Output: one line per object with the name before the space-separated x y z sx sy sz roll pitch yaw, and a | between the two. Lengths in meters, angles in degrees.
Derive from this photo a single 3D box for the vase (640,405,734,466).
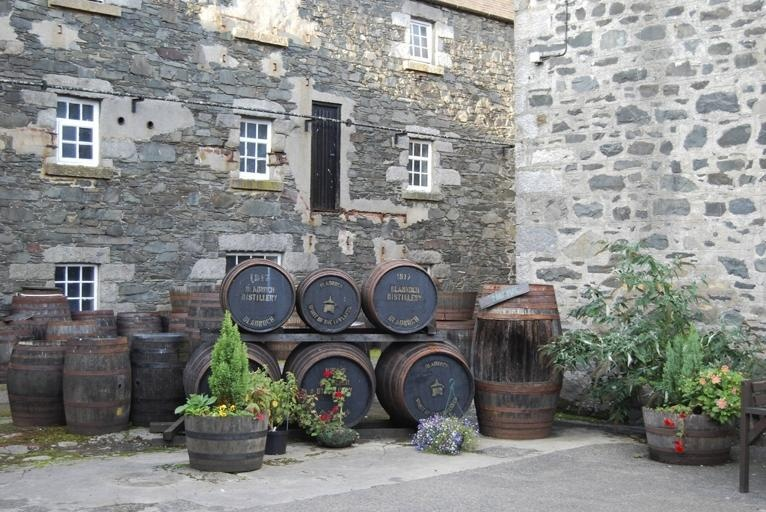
vase | 3.024 1.740 6.234 0.753 0.385 0.716 5 -22 29

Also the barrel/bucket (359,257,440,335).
barrel/bucket | 0.132 0.417 7.277 0.922 0.791 1.170 16 -1 -13

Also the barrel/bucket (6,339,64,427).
barrel/bucket | -3.878 1.438 7.014 0.698 0.970 0.242 1 -1 2

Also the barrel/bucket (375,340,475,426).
barrel/bucket | 0.444 1.386 6.889 1.084 0.862 0.434 1 -1 2

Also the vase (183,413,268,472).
vase | -1.405 1.625 5.560 0.663 0.317 0.590 2 -6 -14

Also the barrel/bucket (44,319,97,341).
barrel/bucket | -3.795 0.889 7.544 0.389 0.281 0.344 1 -4 -5

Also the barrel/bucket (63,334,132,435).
barrel/bucket | -3.064 1.394 6.741 0.658 1.034 0.317 2 -1 -24

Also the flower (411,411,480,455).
flower | 0.632 1.813 6.420 0.468 0.207 0.414 1 -2 -11

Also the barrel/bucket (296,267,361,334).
barrel/bucket | -0.611 0.480 7.108 0.789 0.648 0.968 -2 2 -20

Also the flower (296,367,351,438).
flower | -0.650 1.531 6.739 0.752 0.630 0.935 -2 4 -12

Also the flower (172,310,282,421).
flower | -1.326 1.031 5.823 0.617 1.013 0.830 0 -1 29

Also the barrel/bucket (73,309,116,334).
barrel/bucket | -4.243 0.973 9.240 0.527 0.387 0.487 0 -2 0

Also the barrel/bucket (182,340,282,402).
barrel/bucket | -1.622 1.147 6.574 0.769 0.641 0.956 -8 3 -5
